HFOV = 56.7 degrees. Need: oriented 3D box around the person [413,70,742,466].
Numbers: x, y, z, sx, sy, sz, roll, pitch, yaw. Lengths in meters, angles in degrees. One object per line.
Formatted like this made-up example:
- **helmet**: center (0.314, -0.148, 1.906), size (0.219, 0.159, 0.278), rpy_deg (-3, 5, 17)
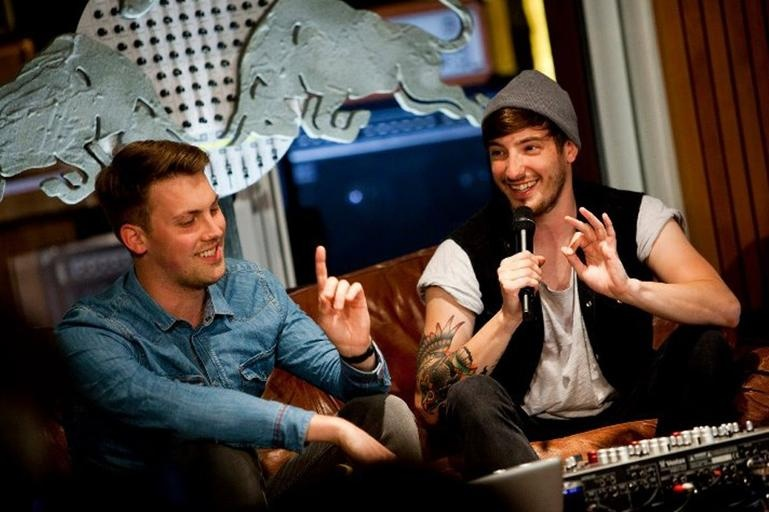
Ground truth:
- **person**: center (0.658, -0.015, 2.666), size (1.223, 1.411, 0.703), rpy_deg (-12, 8, -17)
